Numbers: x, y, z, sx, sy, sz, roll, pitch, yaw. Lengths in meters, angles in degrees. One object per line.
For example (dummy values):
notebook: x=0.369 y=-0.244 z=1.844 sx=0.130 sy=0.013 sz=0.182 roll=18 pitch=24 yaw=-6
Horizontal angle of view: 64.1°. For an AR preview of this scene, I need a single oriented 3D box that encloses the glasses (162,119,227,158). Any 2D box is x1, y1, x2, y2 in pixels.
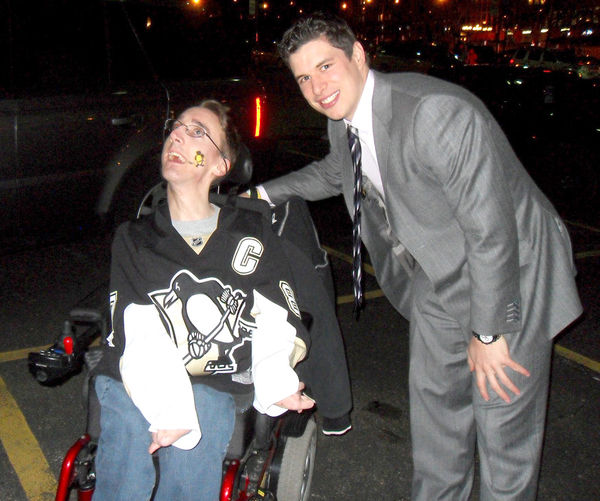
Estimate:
glasses: x=-0.463 y=-0.520 z=2.214 sx=0.203 sy=0.223 sz=0.071 roll=17 pitch=74 yaw=31
